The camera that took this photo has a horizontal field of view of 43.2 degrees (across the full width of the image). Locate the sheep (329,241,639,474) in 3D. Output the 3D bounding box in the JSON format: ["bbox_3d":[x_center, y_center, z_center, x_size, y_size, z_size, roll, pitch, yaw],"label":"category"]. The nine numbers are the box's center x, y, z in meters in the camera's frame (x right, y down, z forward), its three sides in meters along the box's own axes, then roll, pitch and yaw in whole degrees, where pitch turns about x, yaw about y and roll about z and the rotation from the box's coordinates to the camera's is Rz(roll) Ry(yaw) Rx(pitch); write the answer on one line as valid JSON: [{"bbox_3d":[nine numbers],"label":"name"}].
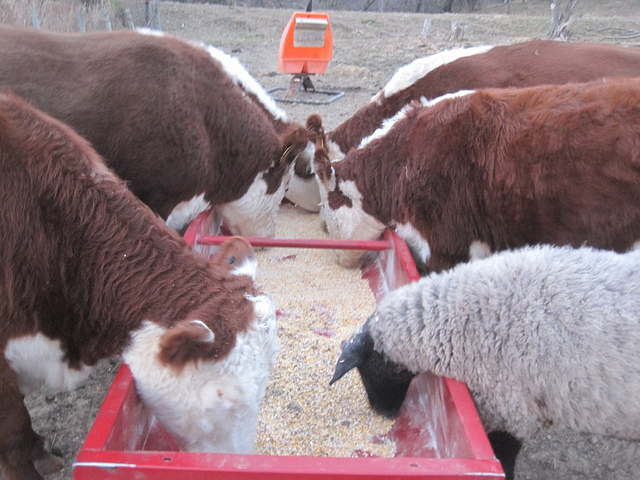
[{"bbox_3d":[0.951,0.647,5.008,1.899,1.189,1.042,-2,53,18],"label":"sheep"}]
